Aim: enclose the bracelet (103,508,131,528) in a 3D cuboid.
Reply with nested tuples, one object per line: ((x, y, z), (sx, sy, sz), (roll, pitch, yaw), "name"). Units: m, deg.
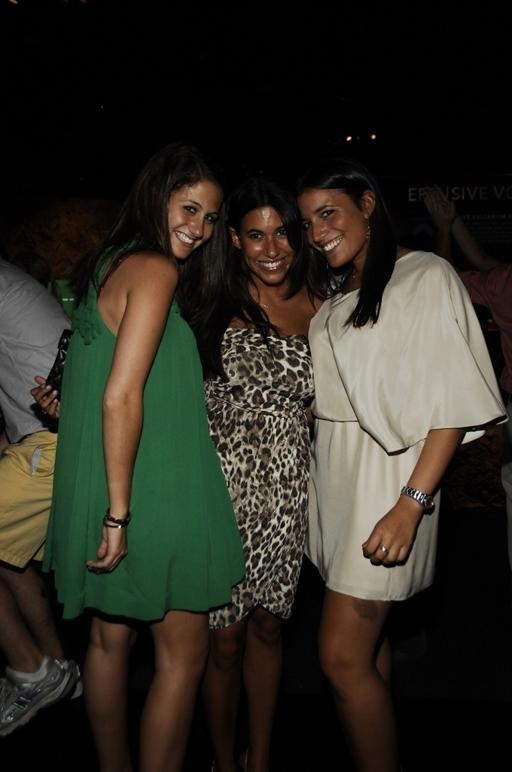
((-0.309, 0.288, 1.258), (0.047, 0.029, 0.038), (1, -4, 42), "bracelet")

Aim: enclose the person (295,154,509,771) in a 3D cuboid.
((0.317, 0.126, 1.644), (0.554, 1.779, 0.534), (-3, 10, -12), "person")

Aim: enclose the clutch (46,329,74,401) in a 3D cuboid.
((-0.568, -0.057, 1.692), (0.078, 0.234, 0.107), (-3, 16, -13), "clutch")

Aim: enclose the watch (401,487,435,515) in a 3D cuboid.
((0.391, 0.276, 1.381), (0.051, 0.054, 0.032), (31, 71, 21), "watch")

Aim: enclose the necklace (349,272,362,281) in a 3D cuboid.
((0.316, -0.345, 1.787), (0.024, 0.033, 0.035), (2, 14, 3), "necklace")
